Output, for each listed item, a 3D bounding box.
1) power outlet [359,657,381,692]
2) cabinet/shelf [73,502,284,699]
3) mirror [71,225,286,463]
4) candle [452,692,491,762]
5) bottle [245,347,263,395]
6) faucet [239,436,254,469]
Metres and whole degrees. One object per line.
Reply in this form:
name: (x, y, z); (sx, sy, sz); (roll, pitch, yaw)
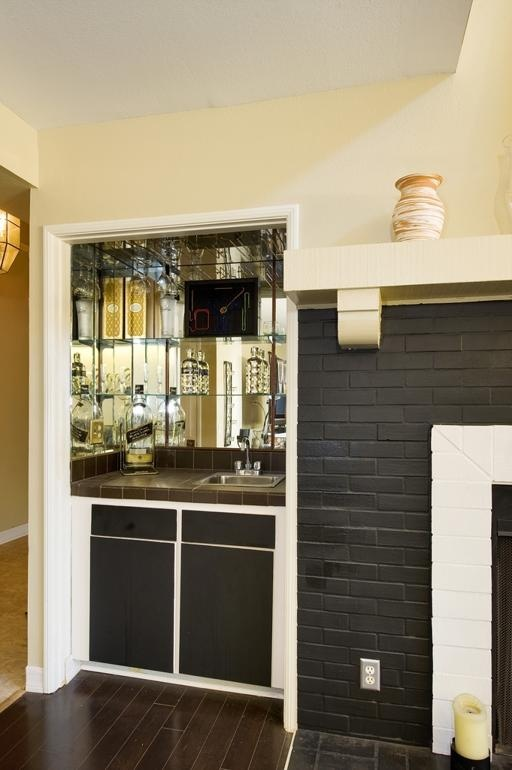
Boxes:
power outlet: (0.409, 1.034, 2.397); (0.072, 0.107, 0.027); (-1, 4, 14)
cabinet/shelf: (-0.284, 0.862, 3.058); (1.169, 0.905, 0.626); (-2, -8, 14)
mirror: (-0.388, -0.214, 3.431); (0.979, 1.020, 0.332); (-1, -5, 9)
candle: (0.687, 1.110, 2.175); (0.104, 0.159, 0.136); (-2, 4, 0)
bottle: (-0.003, -0.078, 3.517); (0.114, 0.241, 0.035); (-2, 4, -2)
faucet: (-0.056, 0.355, 3.496); (0.057, 0.165, 0.099); (-2, 4, 0)
